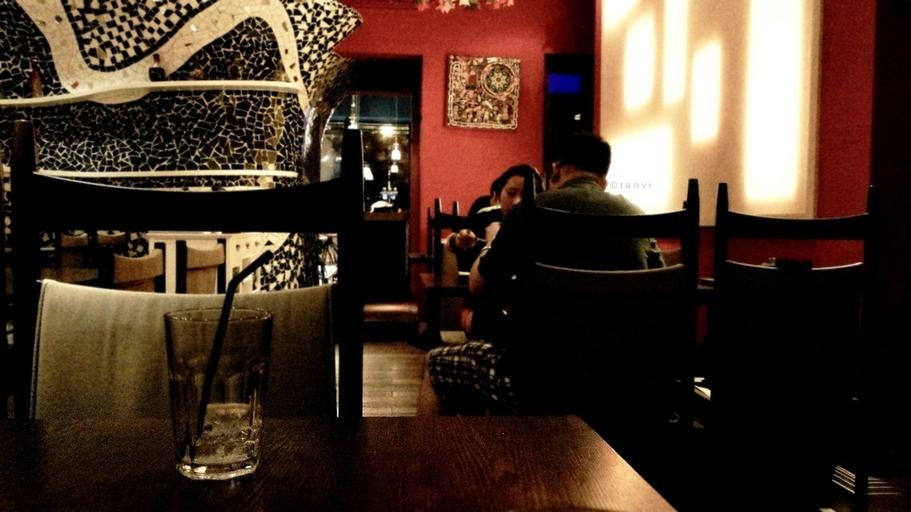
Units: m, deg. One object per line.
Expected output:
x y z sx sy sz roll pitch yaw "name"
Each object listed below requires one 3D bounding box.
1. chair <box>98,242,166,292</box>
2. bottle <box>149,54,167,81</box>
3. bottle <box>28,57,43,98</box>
-1.936 0.079 4.323 0.352 0.161 0.369 4 1 44 "chair"
-2.462 -1.553 6.229 0.128 0.226 0.107 2 3 -17 "bottle"
-3.480 -1.470 6.231 0.116 0.327 0.074 2 3 -13 "bottle"
